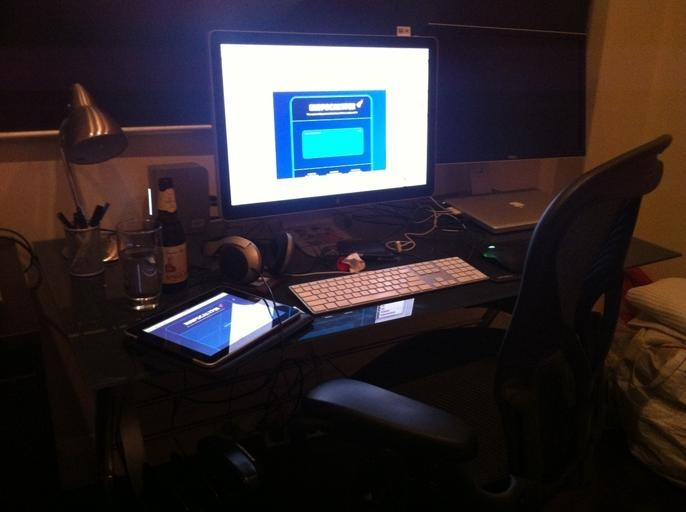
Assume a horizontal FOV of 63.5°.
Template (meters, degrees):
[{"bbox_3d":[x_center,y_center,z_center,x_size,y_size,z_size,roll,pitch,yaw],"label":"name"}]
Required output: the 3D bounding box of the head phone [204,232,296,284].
[{"bbox_3d":[-0.237,0.006,1.462,0.139,0.079,0.173,3,23,13],"label":"head phone"}]

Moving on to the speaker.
[{"bbox_3d":[-0.463,-0.149,1.552,0.128,0.257,0.147,5,25,2],"label":"speaker"}]

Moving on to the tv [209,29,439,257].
[{"bbox_3d":[-0.061,-0.338,1.586,0.671,0.503,0.054,-8,20,-22],"label":"tv"}]

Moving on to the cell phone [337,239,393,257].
[{"bbox_3d":[0.065,-0.022,1.635,0.078,0.019,0.075,-6,23,-17],"label":"cell phone"}]

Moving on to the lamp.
[{"bbox_3d":[-0.687,-0.224,1.529,0.197,0.481,0.353,-11,20,-20],"label":"lamp"}]

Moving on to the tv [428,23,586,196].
[{"bbox_3d":[0.592,-0.543,1.934,0.545,0.419,0.016,-4,6,-8],"label":"tv"}]

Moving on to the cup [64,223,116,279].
[{"bbox_3d":[-0.705,-0.016,1.505,0.105,0.116,0.108,-3,7,0],"label":"cup"}]

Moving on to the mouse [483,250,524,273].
[{"bbox_3d":[0.454,0.009,1.549,0.050,0.018,0.088,-18,30,-28],"label":"mouse"}]

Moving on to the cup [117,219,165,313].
[{"bbox_3d":[-0.496,0.032,1.398,0.107,0.208,0.105,-1,4,0],"label":"cup"}]
